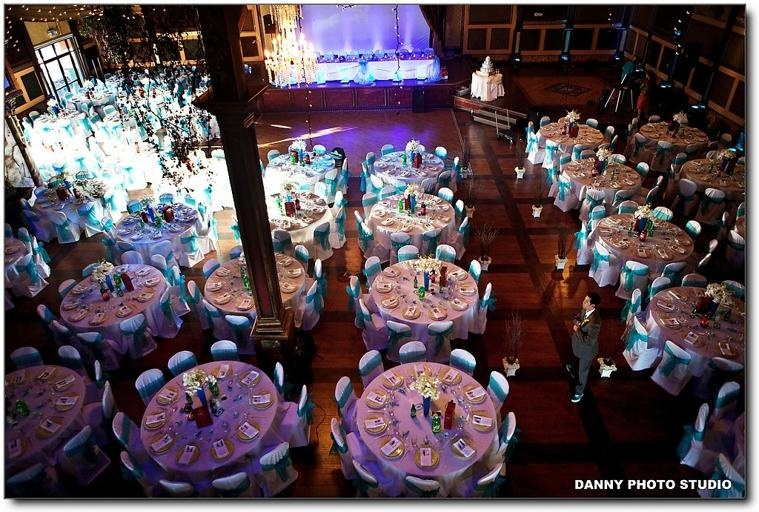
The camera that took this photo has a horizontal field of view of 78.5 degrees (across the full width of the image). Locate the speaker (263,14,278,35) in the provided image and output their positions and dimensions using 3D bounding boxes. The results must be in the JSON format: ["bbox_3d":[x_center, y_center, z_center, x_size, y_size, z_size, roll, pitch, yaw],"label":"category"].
[{"bbox_3d":[-4.774,-9.943,19.893,0.334,0.754,0.670,-15,32,-19],"label":"speaker"}]

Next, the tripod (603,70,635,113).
[{"bbox_3d":[8.944,-6.032,17.021,1.218,1.340,0.878,-23,35,-30],"label":"tripod"}]

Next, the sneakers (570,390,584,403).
[{"bbox_3d":[3.615,2.519,8.466,0.123,0.140,0.340,17,33,38],"label":"sneakers"}]
